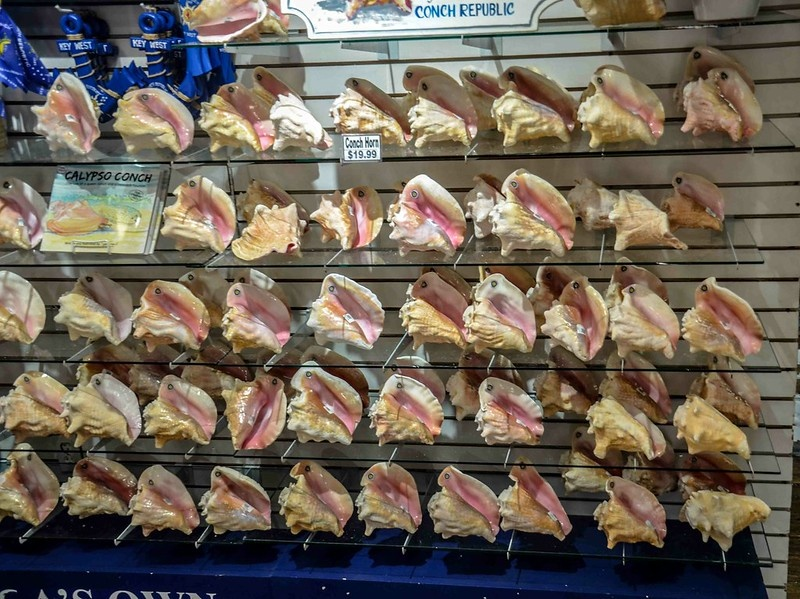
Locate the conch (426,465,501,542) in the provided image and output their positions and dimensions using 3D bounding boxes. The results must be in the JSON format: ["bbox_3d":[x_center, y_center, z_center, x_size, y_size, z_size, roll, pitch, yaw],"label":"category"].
[{"bbox_3d":[0.262,0.855,3.167,0.319,0.287,0.154,27,-3,-15],"label":"conch"}]

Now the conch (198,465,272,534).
[{"bbox_3d":[-0.705,0.834,3.191,0.257,0.246,0.129,14,-37,23],"label":"conch"}]

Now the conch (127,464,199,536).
[{"bbox_3d":[-1.015,0.878,3.314,0.301,0.278,0.159,37,-2,-4],"label":"conch"}]

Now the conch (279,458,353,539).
[{"bbox_3d":[-0.356,0.874,3.183,0.338,0.269,0.145,41,-29,16],"label":"conch"}]

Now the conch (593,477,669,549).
[{"bbox_3d":[0.929,0.888,2.996,0.295,0.277,0.144,23,-24,21],"label":"conch"}]

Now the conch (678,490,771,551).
[{"bbox_3d":[1.298,0.862,2.940,0.354,0.258,0.148,4,-51,-13],"label":"conch"}]

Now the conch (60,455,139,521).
[{"bbox_3d":[-1.298,0.837,3.268,0.306,0.258,0.140,22,-10,-16],"label":"conch"}]
